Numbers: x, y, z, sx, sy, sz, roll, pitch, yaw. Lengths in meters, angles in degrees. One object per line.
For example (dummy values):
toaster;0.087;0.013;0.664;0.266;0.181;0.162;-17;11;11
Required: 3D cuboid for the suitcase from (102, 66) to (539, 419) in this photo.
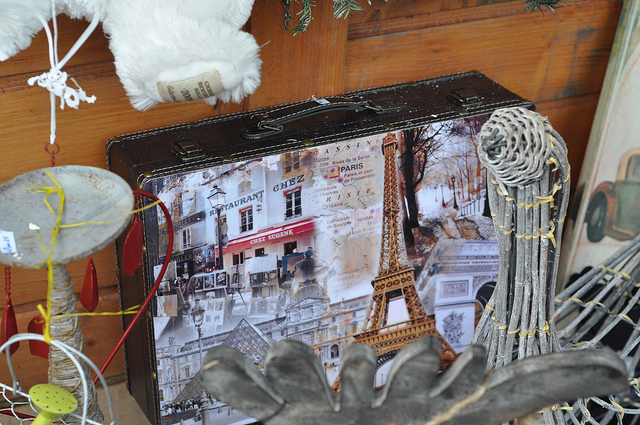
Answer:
suitcase;-0.016;0.064;2.450;0.869;0.563;0.266;-12;32;-18
